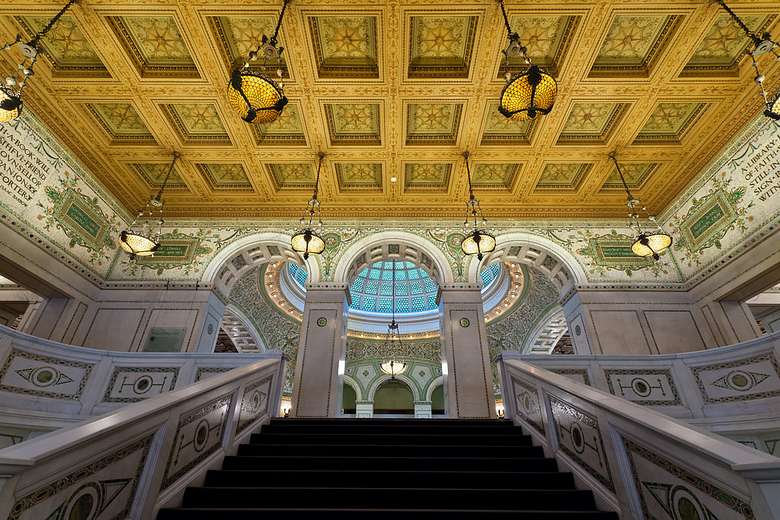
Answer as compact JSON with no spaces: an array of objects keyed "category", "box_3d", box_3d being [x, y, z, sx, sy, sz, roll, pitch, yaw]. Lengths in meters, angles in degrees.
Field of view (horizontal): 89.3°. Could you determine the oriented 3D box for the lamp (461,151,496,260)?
[{"category":"lamp","box_3d":[2.410,-1.525,10.567,0.942,3.324,0.808,-3,-43,5]}]
